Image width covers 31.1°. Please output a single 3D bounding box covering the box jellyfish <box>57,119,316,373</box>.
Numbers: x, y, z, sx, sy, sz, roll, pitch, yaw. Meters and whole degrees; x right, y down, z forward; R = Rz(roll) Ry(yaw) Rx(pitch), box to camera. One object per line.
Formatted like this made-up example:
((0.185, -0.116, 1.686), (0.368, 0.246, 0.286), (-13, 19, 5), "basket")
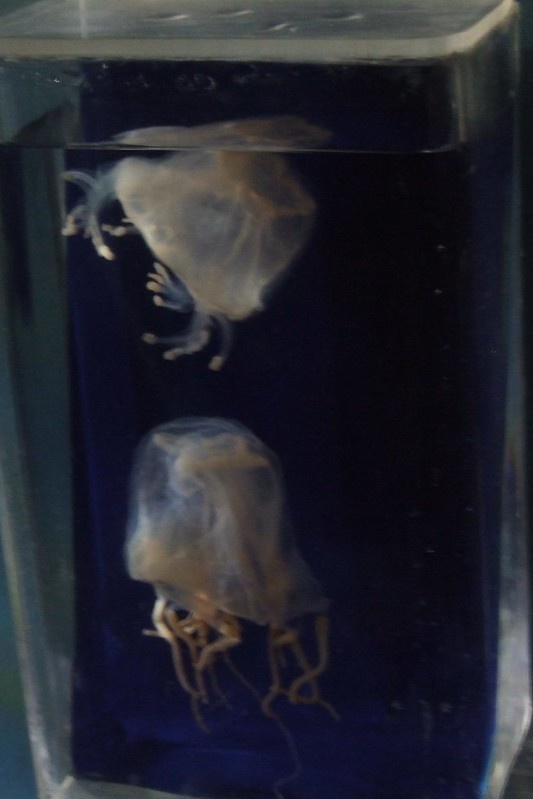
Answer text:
((-0.063, -0.156, 0.861), (0.232, 0.221, 0.080), (-34, -13, -18), "box jellyfish")
